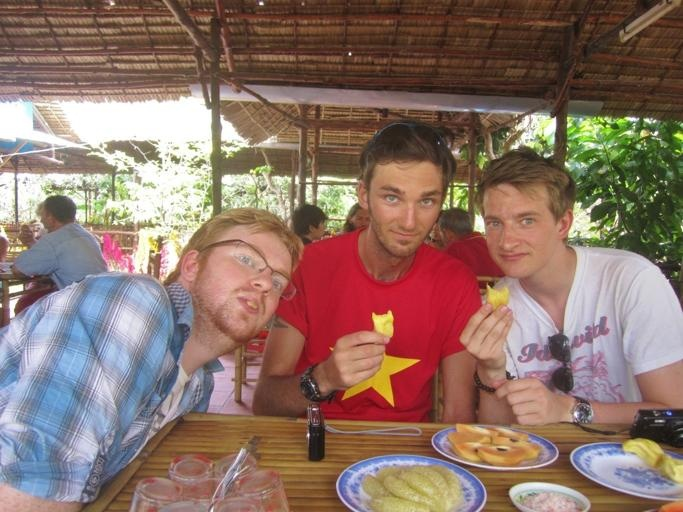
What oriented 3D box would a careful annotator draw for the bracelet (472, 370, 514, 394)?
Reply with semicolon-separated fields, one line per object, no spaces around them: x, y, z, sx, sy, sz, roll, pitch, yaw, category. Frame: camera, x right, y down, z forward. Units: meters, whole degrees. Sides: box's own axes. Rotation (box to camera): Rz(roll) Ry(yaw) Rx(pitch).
0.849;0.704;3.073;0.213;0.124;0.358;3;6;14;bracelet

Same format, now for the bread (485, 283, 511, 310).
0.832;0.210;2.939;0.156;0.151;0.067;-2;-20;1;bread

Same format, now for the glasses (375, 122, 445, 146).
0.407;-0.706;3.217;0.427;0.140;0.220;2;6;9;glasses

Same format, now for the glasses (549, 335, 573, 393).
1.221;0.594;3.053;0.096;0.271;0.210;4;-23;14;glasses

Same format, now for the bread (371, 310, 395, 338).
0.218;0.335;2.801;0.096;0.107;0.122;1;6;-6;bread
